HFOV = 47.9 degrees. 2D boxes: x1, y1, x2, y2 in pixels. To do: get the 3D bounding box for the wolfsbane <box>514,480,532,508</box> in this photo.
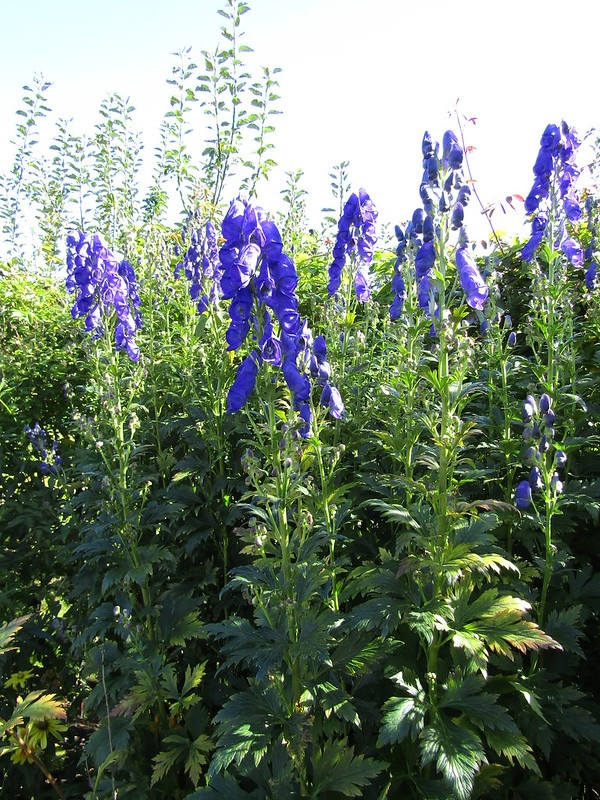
[{"bbox_3d":[1.131,0.483,3.434,0.077,0.143,0.134,4,-11,13],"label":"wolfsbane"}]
